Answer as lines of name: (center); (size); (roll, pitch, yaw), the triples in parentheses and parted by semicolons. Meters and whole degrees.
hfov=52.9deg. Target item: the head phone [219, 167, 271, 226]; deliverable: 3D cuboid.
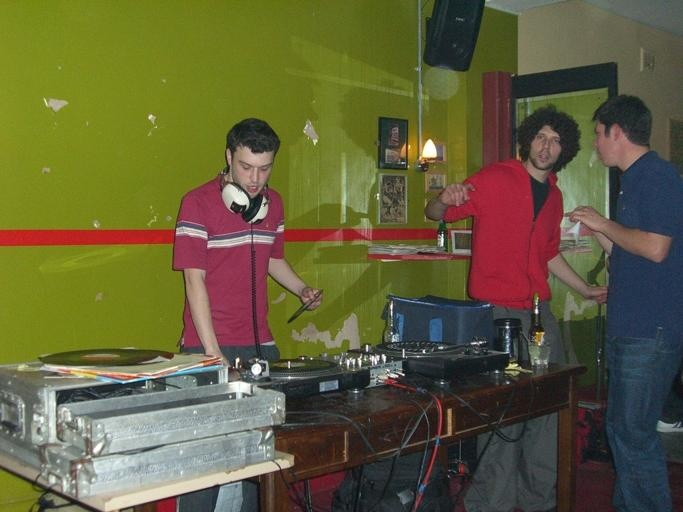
head phone: (-0.436, -0.267, 3.049); (0.182, 0.218, 0.112); (25, -60, -42)

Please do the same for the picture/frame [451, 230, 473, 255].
picture/frame: (0.884, -0.096, 5.073); (0.188, 0.200, 0.020); (0, -5, -11)

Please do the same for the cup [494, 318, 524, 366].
cup: (0.805, 0.394, 3.279); (0.172, 0.263, 0.189); (-1, -6, 0)

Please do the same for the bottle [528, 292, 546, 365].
bottle: (0.959, 0.356, 3.364); (0.083, 0.332, 0.157); (-2, 0, 20)
